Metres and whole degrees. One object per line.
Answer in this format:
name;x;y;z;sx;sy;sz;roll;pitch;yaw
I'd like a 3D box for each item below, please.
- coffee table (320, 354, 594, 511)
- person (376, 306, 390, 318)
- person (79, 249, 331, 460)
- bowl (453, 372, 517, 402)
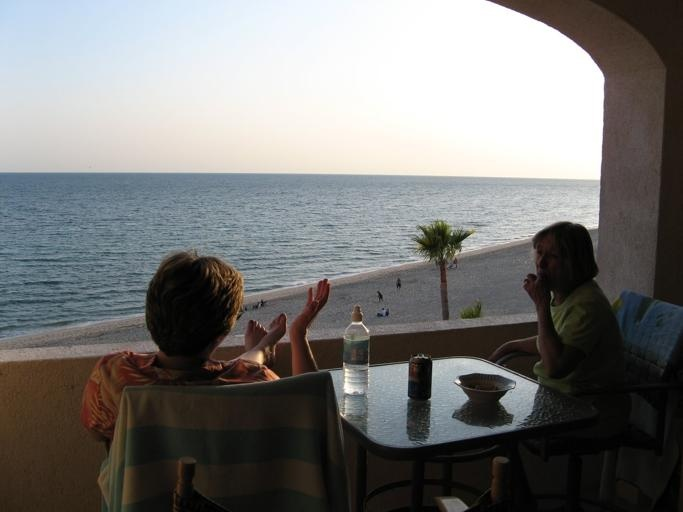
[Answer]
coffee table;0.423;0.598;2.744;0.855;0.864;0.851;-6;22;-17
person;1.818;2.467;27.010;0.306;0.463;0.878;-1;-3;7
person;-0.471;0.288;2.703;0.666;0.699;1.190;6;8;7
bowl;0.638;0.576;2.730;0.150;0.041;0.152;1;13;0
